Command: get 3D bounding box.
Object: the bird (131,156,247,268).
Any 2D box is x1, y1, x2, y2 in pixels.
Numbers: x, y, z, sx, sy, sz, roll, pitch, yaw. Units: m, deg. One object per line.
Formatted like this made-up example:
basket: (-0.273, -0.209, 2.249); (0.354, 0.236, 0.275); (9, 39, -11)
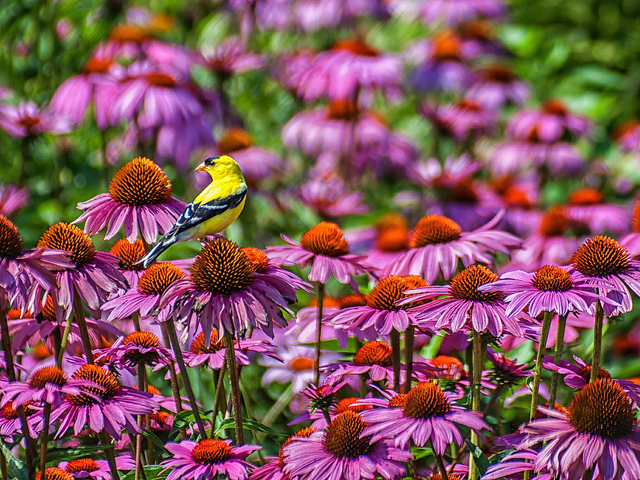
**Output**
bird: (-0.538, -0.126, 3.609); (0.493, 0.375, 0.222); (-21, 14, -23)
